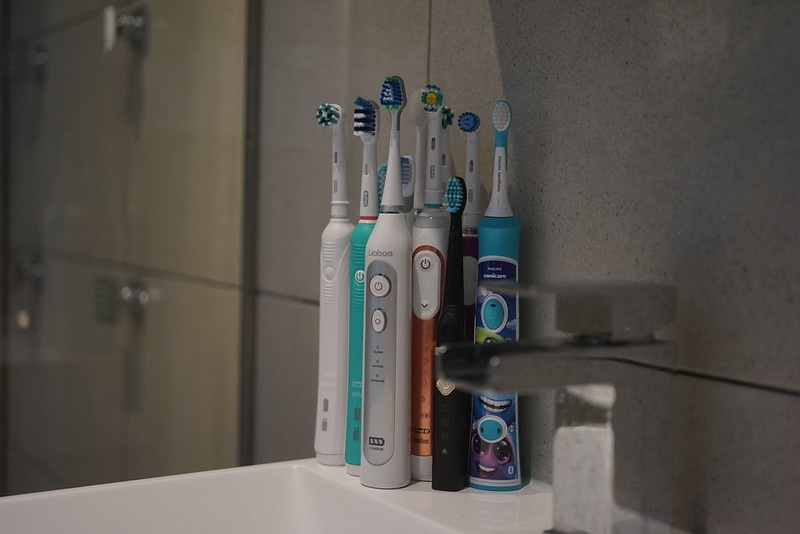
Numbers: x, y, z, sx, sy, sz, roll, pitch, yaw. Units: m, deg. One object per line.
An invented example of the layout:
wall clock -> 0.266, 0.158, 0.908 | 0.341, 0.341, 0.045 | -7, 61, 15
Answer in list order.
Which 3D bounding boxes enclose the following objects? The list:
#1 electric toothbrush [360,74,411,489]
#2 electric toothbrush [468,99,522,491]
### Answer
electric toothbrush -> -0.013, 0.017, 1.006 | 0.056, 0.482, 0.046 | 1, -4, -3
electric toothbrush -> 0.117, 0.031, 1.008 | 0.064, 0.454, 0.066 | 3, -3, -20
